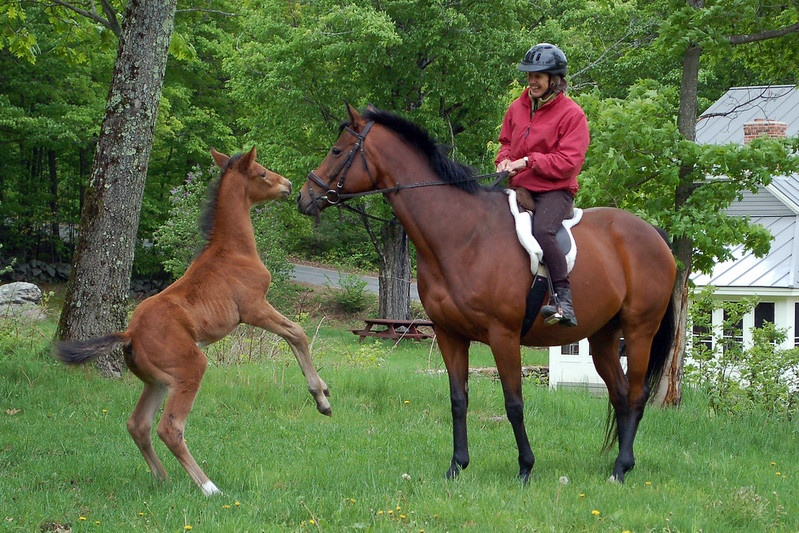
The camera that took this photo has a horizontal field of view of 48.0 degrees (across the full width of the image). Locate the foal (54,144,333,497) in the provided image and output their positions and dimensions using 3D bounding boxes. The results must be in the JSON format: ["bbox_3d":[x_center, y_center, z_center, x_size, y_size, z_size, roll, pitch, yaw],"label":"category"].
[{"bbox_3d":[-2.868,0.761,13.519,1.272,4.971,5.266,2,11,36],"label":"foal"}]

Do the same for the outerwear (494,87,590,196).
[{"bbox_3d":[2.149,-1.959,13.815,1.195,1.605,1.664,-5,12,-42],"label":"outerwear"}]

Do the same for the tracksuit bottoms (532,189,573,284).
[{"bbox_3d":[2.237,-0.438,13.318,0.566,1.298,0.779,4,14,8],"label":"tracksuit bottoms"}]
